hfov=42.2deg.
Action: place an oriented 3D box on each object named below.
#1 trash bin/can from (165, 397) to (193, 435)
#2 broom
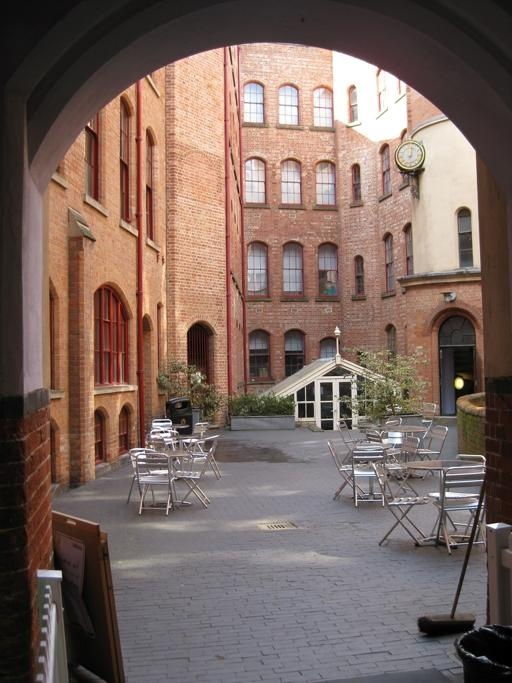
[{"bbox_3d":[-2.009,1.984,17.495,0.425,1.341,0.878,3,6,39],"label":"trash bin/can"},{"bbox_3d":[1.416,1.396,4.765,0.577,1.118,0.662,2,2,-20],"label":"broom"}]
